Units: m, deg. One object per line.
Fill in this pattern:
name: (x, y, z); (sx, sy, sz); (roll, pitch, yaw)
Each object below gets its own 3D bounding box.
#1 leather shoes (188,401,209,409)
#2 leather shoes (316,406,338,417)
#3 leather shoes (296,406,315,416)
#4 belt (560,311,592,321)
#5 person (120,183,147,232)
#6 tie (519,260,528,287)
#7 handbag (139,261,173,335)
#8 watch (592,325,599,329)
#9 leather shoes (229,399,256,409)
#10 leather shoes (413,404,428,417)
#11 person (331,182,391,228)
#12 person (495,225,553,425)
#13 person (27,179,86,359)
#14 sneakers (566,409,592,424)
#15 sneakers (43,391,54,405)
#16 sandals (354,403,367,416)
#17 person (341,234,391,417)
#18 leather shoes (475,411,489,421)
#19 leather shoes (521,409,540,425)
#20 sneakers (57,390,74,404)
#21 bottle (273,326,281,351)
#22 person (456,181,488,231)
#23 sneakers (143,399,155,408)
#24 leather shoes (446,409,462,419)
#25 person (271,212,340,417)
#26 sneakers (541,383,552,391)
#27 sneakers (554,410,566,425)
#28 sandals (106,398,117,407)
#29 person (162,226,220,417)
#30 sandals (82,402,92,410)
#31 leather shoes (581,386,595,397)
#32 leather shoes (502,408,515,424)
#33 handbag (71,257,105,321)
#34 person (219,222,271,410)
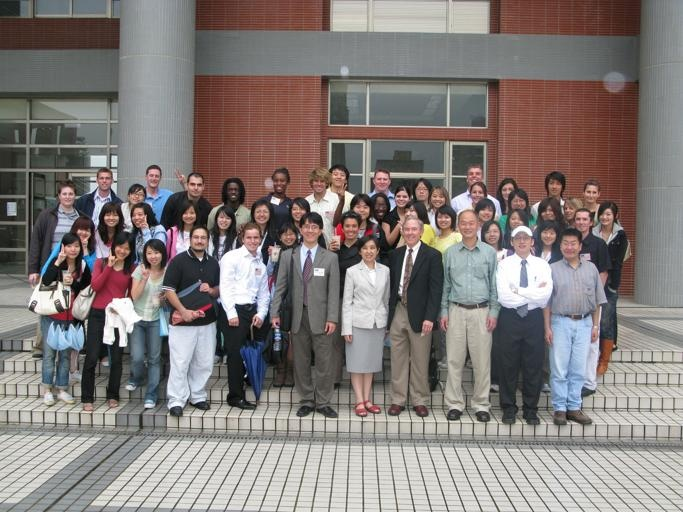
leather shoes: (-1.770, 1.832, 9.348); (0.228, 0.090, 0.084); (-2, 4, 14)
leather shoes: (-0.182, 1.891, 9.232); (0.257, 0.096, 0.101); (2, 3, 37)
leather shoes: (-0.440, 1.878, 9.237); (0.260, 0.105, 0.133); (-2, 4, -17)
belt: (2.813, 0.727, 9.087); (0.347, 0.082, 0.055); (-1, 4, -9)
person: (-2.819, -0.508, 10.306); (0.420, 0.958, 0.302); (2, -10, -21)
tie: (2.171, 0.215, 9.045); (0.093, 0.313, 0.135); (0, 4, 13)
handbag: (-2.212, 0.566, 9.428); (0.593, 0.746, 0.232); (7, -1, 25)
watch: (3.115, 0.874, 9.288); (0.079, 0.053, 0.079); (14, -4, 20)
leather shoes: (-1.236, 1.834, 9.421); (0.325, 0.105, 0.121); (0, -1, 13)
leather shoes: (0.982, 1.880, 9.302); (0.178, 0.124, 0.269); (-1, 4, -3)
person: (0.224, -0.768, 10.390); (0.567, 0.700, 1.071); (0, 2, 29)
person: (2.176, 0.842, 9.090); (0.632, 2.342, 0.376); (0, 4, 12)
person: (-3.791, 0.207, 10.228); (0.745, 2.382, 0.677); (3, 4, -18)
sneakers: (2.860, 1.937, 9.154); (0.302, 0.136, 0.120); (0, 0, 30)
sneakers: (-3.631, 1.757, 9.381); (0.100, 0.082, 0.193); (4, -2, -43)
sandals: (0.238, 1.866, 9.258); (0.148, 0.130, 0.186); (-1, 4, 2)
person: (0.294, 0.992, 9.310); (0.606, 1.862, 0.411); (-1, 4, 2)
leather shoes: (1.694, 1.921, 9.105); (0.161, 0.117, 0.117); (0, 4, 13)
leather shoes: (2.273, 1.932, 9.076); (0.189, 0.169, 0.130); (0, 4, 14)
sneakers: (-3.450, 1.754, 9.476); (0.262, 0.102, 0.106); (7, 8, 33)
bottle: (-0.790, 1.008, 9.202); (0.094, 0.307, 0.058); (0, 4, 15)
person: (1.880, -0.517, 10.553); (0.422, 1.018, 0.336); (-2, -22, 15)
sneakers: (-2.372, 1.820, 9.330); (0.137, 0.098, 0.140); (-2, 4, -13)
leather shoes: (1.369, 1.906, 9.158); (0.214, 0.112, 0.148); (-2, 4, -10)
person: (-0.448, 0.871, 9.291); (0.827, 2.124, 0.495); (-1, 4, -2)
sneakers: (2.603, 1.672, 9.641); (0.126, 0.077, 0.077); (-2, 1, 34)
sneakers: (2.615, 1.935, 9.065); (0.158, 0.165, 0.095); (0, 4, 10)
sandals: (-2.845, 1.808, 9.359); (0.096, 0.064, 0.239); (1, -1, -19)
person: (-1.814, 0.781, 9.233); (0.686, 2.259, 0.379); (-2, 4, -15)
sandals: (-3.096, 1.822, 9.198); (0.049, 0.070, 0.157); (18, -32, -27)
leather shoes: (3.134, 1.707, 9.572); (0.227, 0.088, 0.075); (-7, 6, -29)
leather shoes: (2.000, 1.915, 9.073); (0.160, 0.167, 0.115); (0, 4, 7)
handbag: (-3.288, 0.445, 9.495); (0.332, 0.697, 0.532); (27, -6, -25)
person: (-1.193, 0.872, 9.398); (0.619, 2.012, 0.344); (-2, 4, -21)
